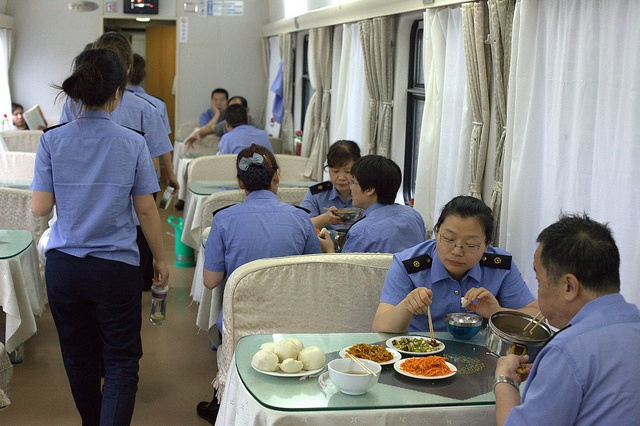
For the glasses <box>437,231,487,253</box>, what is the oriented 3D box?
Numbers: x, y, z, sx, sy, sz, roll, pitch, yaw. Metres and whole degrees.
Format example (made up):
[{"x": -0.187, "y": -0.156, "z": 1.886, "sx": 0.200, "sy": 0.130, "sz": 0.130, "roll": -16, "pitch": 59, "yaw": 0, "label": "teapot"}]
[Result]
[{"x": 0.690, "y": 0.153, "z": 2.795, "sx": 0.205, "sy": 0.072, "sz": 0.044, "roll": 4, "pitch": 9, "yaw": 15, "label": "glasses"}]

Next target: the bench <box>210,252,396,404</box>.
[{"x": -0.146, "y": 0.427, "z": 3.413, "sx": 0.951, "sy": 0.825, "sz": 0.768, "roll": 0, "pitch": 17, "yaw": -9, "label": "bench"}]

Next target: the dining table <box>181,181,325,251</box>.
[{"x": -0.641, "y": 0.094, "z": 5.004, "sx": 0.989, "sy": 0.732, "sz": 1.447, "roll": 3, "pitch": 12, "yaw": -4, "label": "dining table"}]

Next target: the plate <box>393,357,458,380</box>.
[{"x": 0.453, "y": 0.680, "z": 2.473, "sx": 0.234, "sy": 0.052, "sz": 0.192, "roll": -3, "pitch": 6, "yaw": -37, "label": "plate"}]

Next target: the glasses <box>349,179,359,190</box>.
[{"x": 0.221, "y": -0.193, "z": 3.731, "sx": 0.045, "sy": 0.070, "sz": 0.062, "roll": -3, "pitch": -7, "yaw": 9, "label": "glasses"}]

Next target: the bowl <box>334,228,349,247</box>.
[{"x": 0.141, "y": 0.158, "z": 3.660, "sx": 0.096, "sy": 0.109, "sz": 0.083, "roll": 0, "pitch": 9, "yaw": 3, "label": "bowl"}]

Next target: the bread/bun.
[{"x": -0.132, "y": 0.596, "z": 2.513, "sx": 0.257, "sy": 0.158, "sz": 0.308, "roll": 3, "pitch": 10, "yaw": 36, "label": "bread/bun"}]

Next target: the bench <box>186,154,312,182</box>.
[{"x": -0.767, "y": -0.504, "z": 6.354, "sx": 1.158, "sy": 0.391, "sz": 1.211, "roll": 0, "pitch": 12, "yaw": -14, "label": "bench"}]

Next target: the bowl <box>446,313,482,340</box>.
[{"x": 0.694, "y": 0.552, "z": 2.763, "sx": 0.176, "sy": 0.111, "sz": 0.185, "roll": 0, "pitch": 9, "yaw": 0, "label": "bowl"}]

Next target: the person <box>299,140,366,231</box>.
[{"x": 0.151, "y": -0.083, "z": 4.325, "sx": 0.513, "sy": 0.934, "sz": 0.492, "roll": 0, "pitch": 2, "yaw": 0, "label": "person"}]

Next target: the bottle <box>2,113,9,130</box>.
[{"x": -4.900, "y": -1.434, "z": 8.861, "sx": 0.099, "sy": 0.235, "sz": 0.331, "roll": -4, "pitch": 11, "yaw": -29, "label": "bottle"}]

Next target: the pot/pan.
[{"x": 0.888, "y": 0.561, "z": 2.516, "sx": 0.219, "sy": 0.263, "sz": 0.248, "roll": 2, "pitch": 12, "yaw": -8, "label": "pot/pan"}]

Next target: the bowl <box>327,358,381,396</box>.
[{"x": 0.145, "y": 0.687, "z": 2.386, "sx": 0.219, "sy": 0.115, "sz": 0.141, "roll": 2, "pitch": 9, "yaw": 4, "label": "bowl"}]
